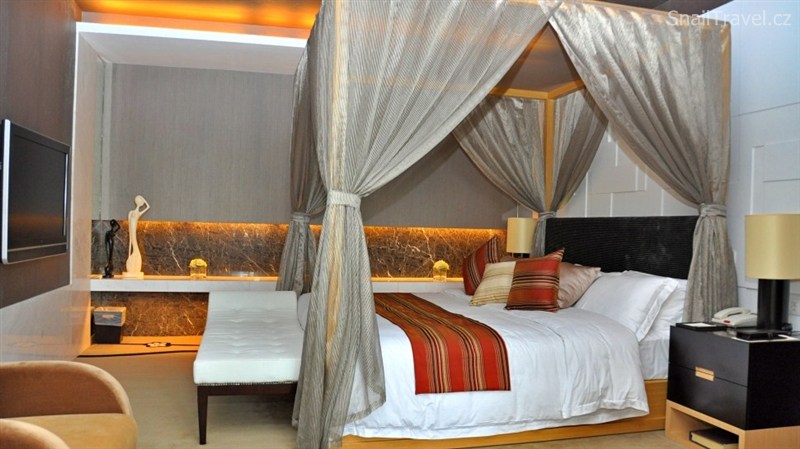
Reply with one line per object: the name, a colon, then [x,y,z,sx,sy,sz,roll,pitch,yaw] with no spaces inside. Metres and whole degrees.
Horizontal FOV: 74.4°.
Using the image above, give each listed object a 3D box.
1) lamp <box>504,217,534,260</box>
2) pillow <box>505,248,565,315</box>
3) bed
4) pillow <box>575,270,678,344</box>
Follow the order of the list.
lamp: [1.733,0.161,7.114,0.489,0.509,0.481,0,-1,28]
pillow: [1.470,0.603,5.785,0.544,0.577,0.439,2,13,20]
bed: [1.545,1.032,5.835,2.710,1.502,2.599,1,-4,-11]
pillow: [2.353,0.797,5.534,0.624,0.535,0.808,-12,15,-38]
